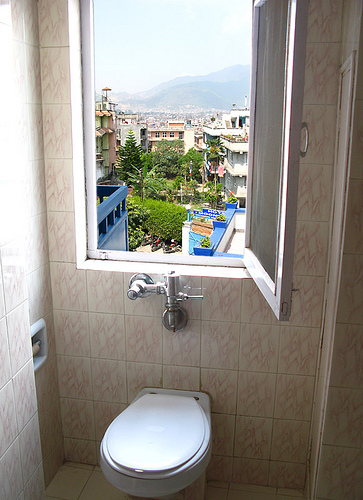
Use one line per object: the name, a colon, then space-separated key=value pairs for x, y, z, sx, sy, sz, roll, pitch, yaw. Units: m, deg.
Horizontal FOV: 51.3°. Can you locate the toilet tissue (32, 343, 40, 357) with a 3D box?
toilet tissue: x=-0.567 y=0.388 z=1.473 sx=0.028 sy=0.042 sz=0.033 roll=-13 pitch=-3 yaw=17
